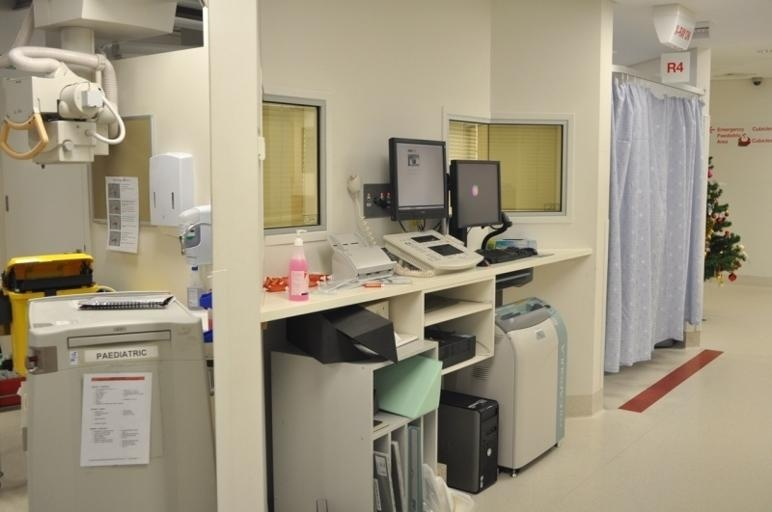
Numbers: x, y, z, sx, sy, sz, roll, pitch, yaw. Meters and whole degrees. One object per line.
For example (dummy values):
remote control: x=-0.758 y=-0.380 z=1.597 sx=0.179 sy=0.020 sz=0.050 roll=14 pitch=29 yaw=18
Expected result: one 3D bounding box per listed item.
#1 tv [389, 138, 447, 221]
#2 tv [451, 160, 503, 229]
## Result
tv: x=0.209 y=-0.495 z=3.827 sx=0.046 sy=0.497 sz=0.507 roll=2 pitch=6 yaw=44
tv: x=0.619 y=-0.446 z=4.114 sx=0.058 sy=0.466 sz=0.560 roll=2 pitch=6 yaw=44
